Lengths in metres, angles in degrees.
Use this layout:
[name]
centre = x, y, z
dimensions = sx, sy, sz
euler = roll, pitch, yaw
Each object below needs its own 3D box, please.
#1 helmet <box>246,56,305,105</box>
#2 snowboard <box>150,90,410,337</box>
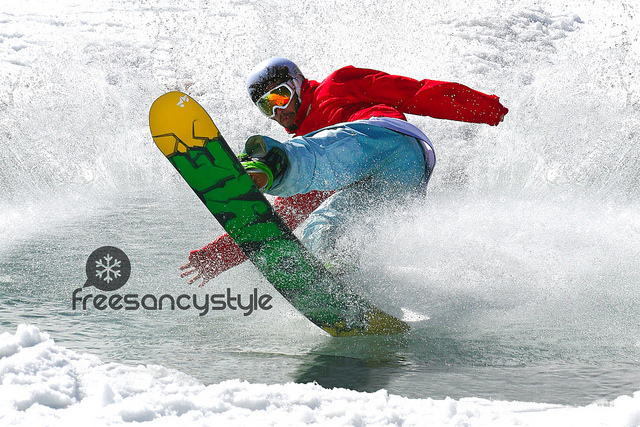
[helmet]
centre = -0.591, -1.647, 11.442
dimensions = 0.743, 0.457, 0.502
euler = -17, 46, -20
[snowboard]
centre = -0.402, 0.092, 11.228
dimensions = 0.687, 4.291, 0.422
euler = -33, 24, 28
